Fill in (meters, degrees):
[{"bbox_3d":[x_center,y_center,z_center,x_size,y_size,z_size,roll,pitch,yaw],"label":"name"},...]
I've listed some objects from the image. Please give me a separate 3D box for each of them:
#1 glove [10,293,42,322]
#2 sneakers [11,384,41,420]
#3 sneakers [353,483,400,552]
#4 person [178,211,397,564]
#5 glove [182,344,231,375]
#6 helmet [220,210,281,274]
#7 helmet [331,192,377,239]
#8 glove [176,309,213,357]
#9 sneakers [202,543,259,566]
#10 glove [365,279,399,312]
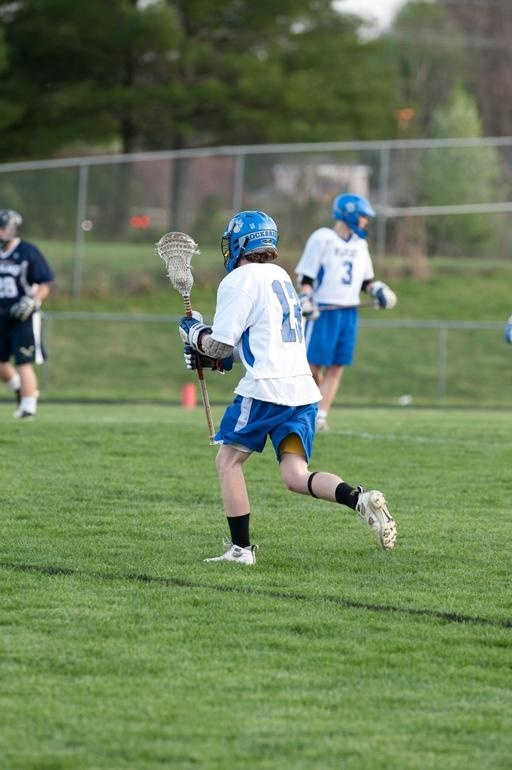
[{"bbox_3d":[-1.446,-0.483,8.300,0.175,0.140,0.079,-35,-19,-18],"label":"glove"},{"bbox_3d":[-1.550,0.150,8.609,0.136,0.215,0.374,6,-9,-17],"label":"sneakers"},{"bbox_3d":[0.498,0.535,5.317,0.171,0.291,0.114,-22,13,23],"label":"sneakers"},{"bbox_3d":[0.114,0.030,5.497,0.575,1.504,1.012,-6,10,-37],"label":"person"},{"bbox_3d":[-0.192,-0.115,5.612,0.186,0.073,0.126,14,-17,11],"label":"glove"},{"bbox_3d":[-0.042,-0.606,5.574,0.261,0.222,0.195,-2,1,22],"label":"helmet"},{"bbox_3d":[0.718,-1.229,9.345,0.382,0.320,0.276,2,3,8],"label":"helmet"},{"bbox_3d":[-0.244,-0.231,5.622,0.199,0.167,0.093,-3,5,-27],"label":"glove"},{"bbox_3d":[-0.117,0.736,5.636,0.256,0.093,0.082,2,0,12],"label":"sneakers"},{"bbox_3d":[0.808,-0.577,8.469,0.156,0.103,0.257,29,10,-49],"label":"glove"}]
